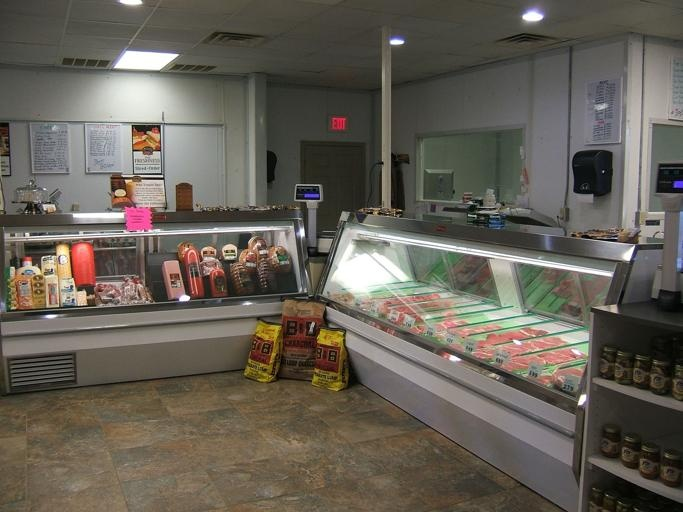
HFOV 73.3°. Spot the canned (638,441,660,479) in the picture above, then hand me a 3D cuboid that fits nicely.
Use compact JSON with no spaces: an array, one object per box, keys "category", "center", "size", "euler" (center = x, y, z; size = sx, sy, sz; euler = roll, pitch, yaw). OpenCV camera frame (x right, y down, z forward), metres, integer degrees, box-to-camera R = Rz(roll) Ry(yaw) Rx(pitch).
[{"category":"canned","center":[1.290,0.862,1.929],"size":[0.074,0.130,0.081],"euler":[5,14,35]}]

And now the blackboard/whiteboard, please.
[{"category":"blackboard/whiteboard","center":[-3.047,-1.433,7.628],"size":[4.006,1.536,0.158],"euler":[-4,12,-28]}]

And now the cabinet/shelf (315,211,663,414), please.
[{"category":"cabinet/shelf","center":[0.843,0.400,2.944],"size":[0.443,0.586,1.524],"euler":[-3,12,-34]}]

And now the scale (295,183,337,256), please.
[{"category":"scale","center":[-0.312,-0.367,4.849],"size":[0.387,0.769,0.338],"euler":[15,15,35]}]

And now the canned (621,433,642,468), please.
[{"category":"canned","center":[1.261,0.846,2.008],"size":[0.073,0.135,0.092],"euler":[5,13,33]}]
